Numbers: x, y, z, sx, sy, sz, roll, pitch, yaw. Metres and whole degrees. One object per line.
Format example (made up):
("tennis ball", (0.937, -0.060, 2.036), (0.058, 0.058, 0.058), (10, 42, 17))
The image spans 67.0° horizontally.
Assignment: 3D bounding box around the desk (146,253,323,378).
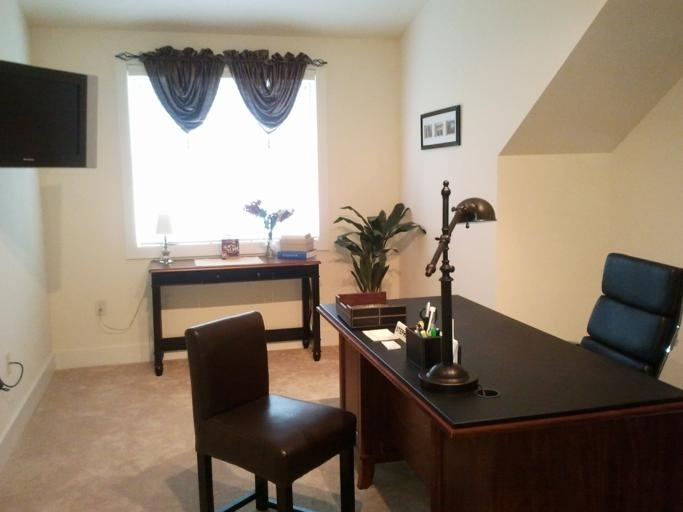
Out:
("desk", (-0.956, 0.481, 4.404), (0.924, 0.698, 0.343), (-2, 7, -19))
